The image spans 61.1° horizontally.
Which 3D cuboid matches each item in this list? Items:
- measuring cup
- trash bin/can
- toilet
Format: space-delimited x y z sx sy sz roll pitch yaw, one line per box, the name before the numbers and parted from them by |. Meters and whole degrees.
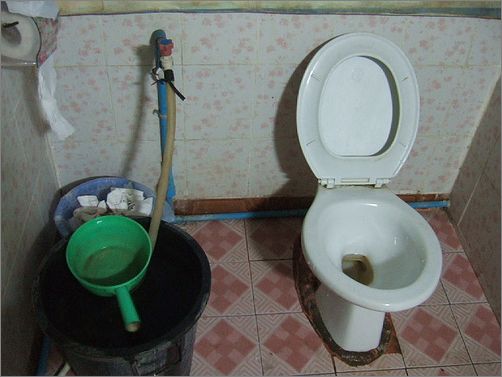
measuring cup | -0.396 0.261 1.235 0.237 0.150 0.384 -16 60 -22
trash bin/can | -0.614 0.037 1.754 0.330 0.336 0.292 -4 36 -12
toilet | 0.402 -0.009 1.417 0.465 0.850 0.575 -1 32 -1
